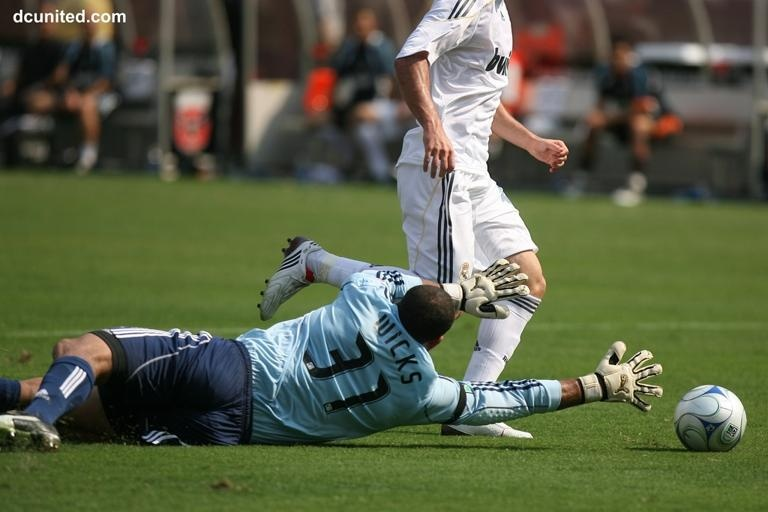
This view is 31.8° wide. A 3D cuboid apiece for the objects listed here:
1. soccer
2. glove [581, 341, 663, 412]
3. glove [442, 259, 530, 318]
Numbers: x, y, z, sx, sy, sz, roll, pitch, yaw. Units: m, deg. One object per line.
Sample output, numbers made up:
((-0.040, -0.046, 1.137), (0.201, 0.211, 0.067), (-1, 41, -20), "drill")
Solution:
((2.698, 1.346, 11.354), (0.493, 0.559, 0.880), (0, 0, 6), "soccer")
((1.973, 1.009, 11.139), (0.617, 0.562, 0.275), (-7, -12, -1), "glove")
((0.874, 0.275, 11.208), (0.442, 0.661, 0.541), (2, 0, 0), "glove")
